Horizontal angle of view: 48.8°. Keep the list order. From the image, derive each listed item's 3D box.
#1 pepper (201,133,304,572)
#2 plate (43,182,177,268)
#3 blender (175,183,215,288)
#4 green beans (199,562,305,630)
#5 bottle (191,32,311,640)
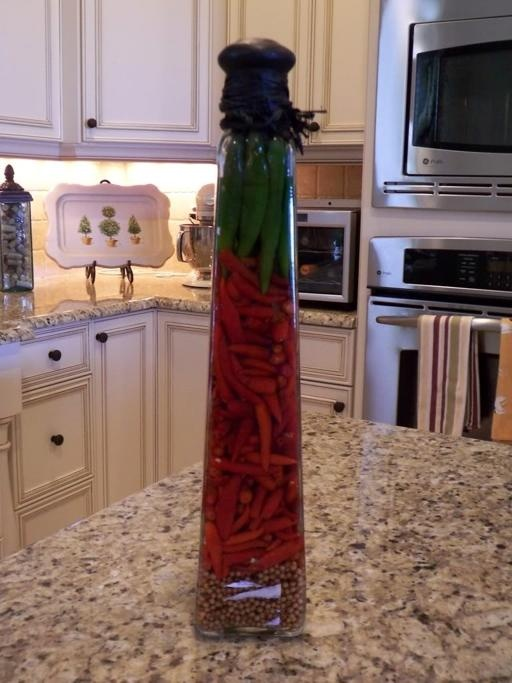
[{"bbox_3d":[0.011,0.007,0.306,0.072,0.209,0.065,3,11,10],"label":"pepper"},{"bbox_3d":[-0.613,-0.486,2.381,0.520,0.350,0.075,-3,12,-24],"label":"plate"},{"bbox_3d":[-0.204,-0.446,2.407,0.202,0.402,0.234,11,15,34],"label":"blender"},{"bbox_3d":[0.000,0.162,0.363,0.074,0.037,0.072,-3,-13,-2],"label":"green beans"},{"bbox_3d":[-0.002,0.009,0.316,0.074,0.293,0.086,2,11,8],"label":"bottle"}]
